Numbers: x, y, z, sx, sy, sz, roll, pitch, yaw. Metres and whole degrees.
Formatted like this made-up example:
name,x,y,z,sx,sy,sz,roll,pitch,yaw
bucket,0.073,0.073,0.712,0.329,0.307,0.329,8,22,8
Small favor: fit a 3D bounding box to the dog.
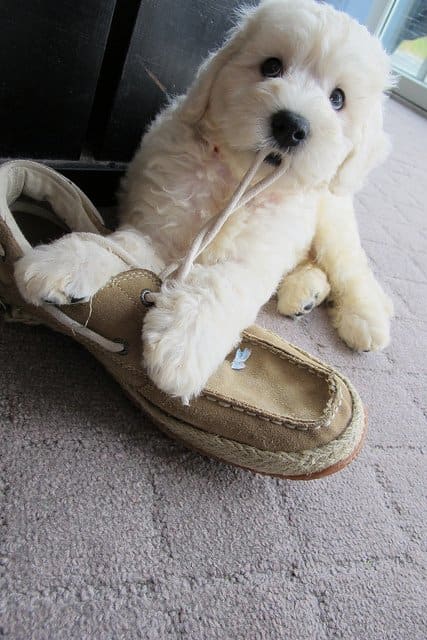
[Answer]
name,x,y,z,sx,sy,sz,roll,pitch,yaw
dog,0.139,-0.235,1.031,0.523,0.459,0.867,39,32,-8
